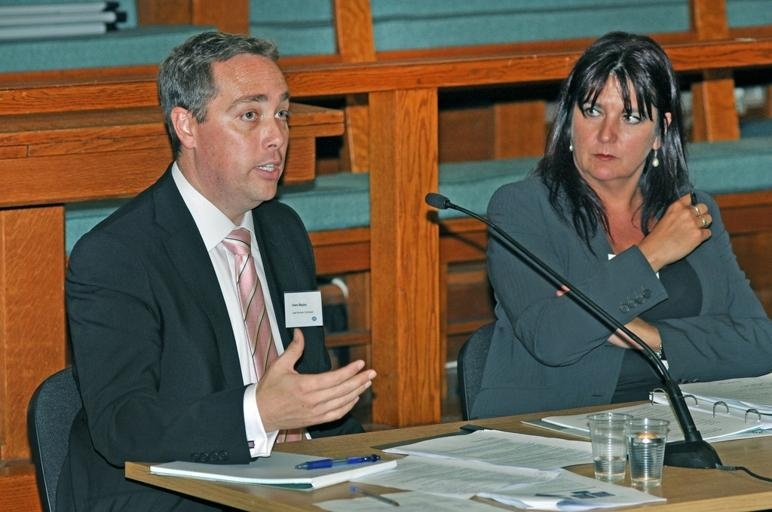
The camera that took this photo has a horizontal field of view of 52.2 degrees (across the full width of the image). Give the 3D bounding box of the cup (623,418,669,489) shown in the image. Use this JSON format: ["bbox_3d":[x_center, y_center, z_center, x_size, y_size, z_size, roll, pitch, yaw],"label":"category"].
[{"bbox_3d":[0.572,0.419,1.726,0.083,0.124,0.165,2,11,19],"label":"cup"}]

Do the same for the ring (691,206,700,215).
[{"bbox_3d":[1.010,-0.149,2.555,0.008,0.026,0.028,-40,20,-5],"label":"ring"}]

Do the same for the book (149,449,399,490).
[{"bbox_3d":[-0.256,0.477,1.803,0.539,0.039,0.221,1,9,16],"label":"book"}]
